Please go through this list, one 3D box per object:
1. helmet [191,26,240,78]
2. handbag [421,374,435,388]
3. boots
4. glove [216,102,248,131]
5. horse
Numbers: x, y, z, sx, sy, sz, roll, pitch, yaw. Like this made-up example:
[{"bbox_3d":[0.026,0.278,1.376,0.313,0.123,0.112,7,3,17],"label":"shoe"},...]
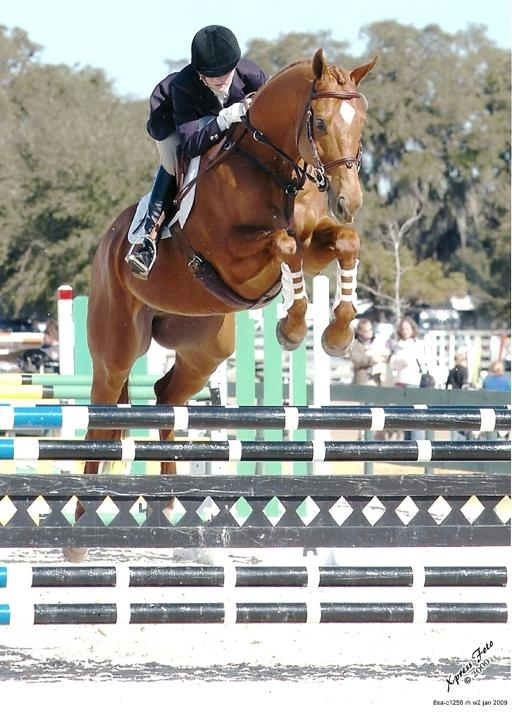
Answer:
[{"bbox_3d":[-0.149,-1.191,6.368,0.215,0.204,0.204,-2,6,-12],"label":"helmet"},{"bbox_3d":[1.230,0.166,11.766,0.079,0.158,0.075,0,5,0],"label":"handbag"},{"bbox_3d":[-0.395,-0.547,6.605,0.106,0.502,0.146,26,-33,-27],"label":"boots"},{"bbox_3d":[-0.094,-0.931,6.374,0.126,0.079,0.052,-38,-38,25],"label":"glove"},{"bbox_3d":[-0.201,-0.240,6.719,0.452,1.385,2.132,5,-19,-32],"label":"horse"}]
